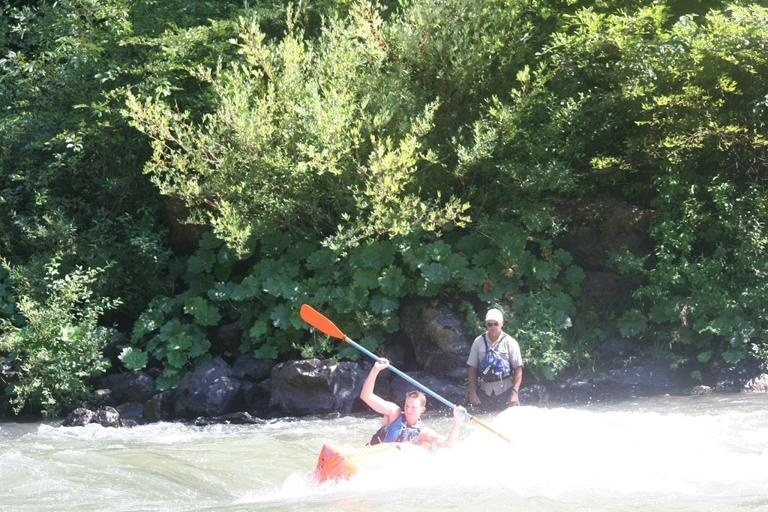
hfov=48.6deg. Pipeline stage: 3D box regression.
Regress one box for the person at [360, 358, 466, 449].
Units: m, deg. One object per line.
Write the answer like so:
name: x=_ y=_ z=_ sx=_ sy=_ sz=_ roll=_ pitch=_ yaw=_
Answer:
person: x=0.501 y=2.536 z=14.331 sx=0.942 sy=1.432 sz=0.374 roll=26 pitch=-29 yaw=5

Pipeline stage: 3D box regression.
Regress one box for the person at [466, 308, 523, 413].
person: x=1.913 y=2.236 z=15.029 sx=0.960 sy=2.599 sz=0.642 roll=4 pitch=20 yaw=12

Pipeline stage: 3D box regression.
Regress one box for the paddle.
paddle: x=0.380 y=2.142 z=15.229 sx=3.850 sy=0.365 sz=0.179 roll=32 pitch=-31 yaw=10

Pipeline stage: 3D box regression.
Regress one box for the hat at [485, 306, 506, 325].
hat: x=1.936 y=1.043 z=14.840 sx=0.247 sy=0.203 sz=0.402 roll=0 pitch=-18 yaw=12

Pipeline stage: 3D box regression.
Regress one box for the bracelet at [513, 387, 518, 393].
bracelet: x=2.276 y=2.334 z=14.753 sx=0.083 sy=0.092 sz=0.027 roll=-1 pitch=-1 yaw=-1

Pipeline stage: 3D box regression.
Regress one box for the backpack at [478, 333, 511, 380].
backpack: x=1.990 y=1.723 z=14.870 sx=0.515 sy=0.378 sz=0.757 roll=7 pitch=-47 yaw=24

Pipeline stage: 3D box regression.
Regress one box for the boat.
boat: x=-0.271 y=2.993 z=12.554 sx=1.247 sy=0.510 sz=0.674 roll=-8 pitch=-14 yaw=-13
